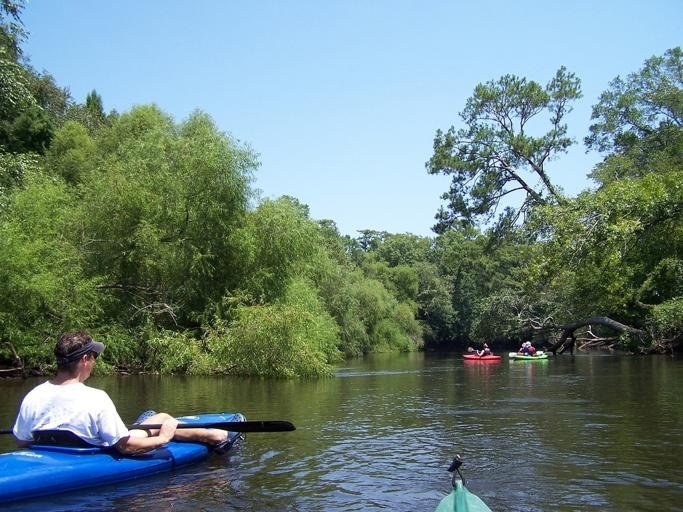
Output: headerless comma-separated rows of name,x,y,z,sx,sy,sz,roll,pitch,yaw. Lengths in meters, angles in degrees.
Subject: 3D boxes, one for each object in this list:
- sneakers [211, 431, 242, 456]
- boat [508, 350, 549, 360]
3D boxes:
sneakers,-2.083,3.501,12.152,0.213,0.187,0.586,-5,13,22
boat,11.254,5.996,39.011,1.869,0.481,1.241,1,-15,1
